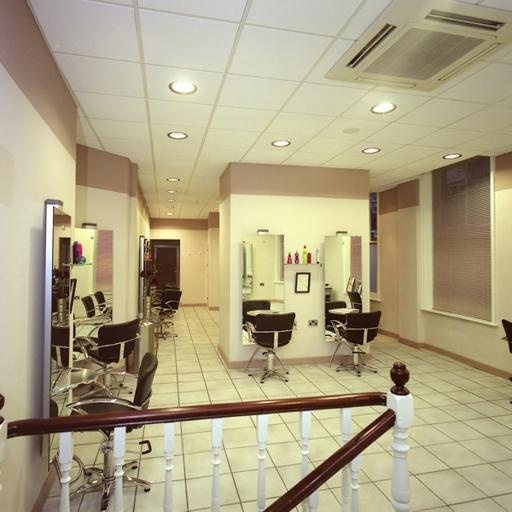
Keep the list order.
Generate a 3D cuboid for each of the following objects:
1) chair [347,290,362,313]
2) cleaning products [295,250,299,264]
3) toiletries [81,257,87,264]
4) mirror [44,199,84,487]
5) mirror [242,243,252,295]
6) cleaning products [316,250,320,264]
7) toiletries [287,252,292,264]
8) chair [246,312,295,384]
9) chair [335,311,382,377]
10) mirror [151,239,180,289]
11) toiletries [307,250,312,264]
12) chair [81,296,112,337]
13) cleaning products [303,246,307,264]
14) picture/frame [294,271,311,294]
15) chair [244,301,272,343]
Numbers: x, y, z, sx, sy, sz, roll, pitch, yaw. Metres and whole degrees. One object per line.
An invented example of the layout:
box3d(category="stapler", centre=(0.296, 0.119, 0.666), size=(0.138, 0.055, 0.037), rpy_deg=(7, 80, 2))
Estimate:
box3d(category="chair", centre=(1.416, 0.644, 5.880), size=(0.266, 0.328, 0.218), rpy_deg=(1, 0, -37))
box3d(category="cleaning products", centre=(0.572, 0.028, 5.785), size=(0.057, 0.176, 0.029), rpy_deg=(0, 0, -8))
box3d(category="toiletries", centre=(-1.474, 0.049, 3.505), size=(0.018, 0.070, 0.067), rpy_deg=(25, 12, -37))
box3d(category="mirror", centre=(-1.332, 0.614, 2.823), size=(0.215, 1.950, 0.557), rpy_deg=(0, 0, -17))
box3d(category="mirror", centre=(-0.123, 0.187, 5.605), size=(0.146, 0.737, 0.049), rpy_deg=(0, 0, -3))
box3d(category="cleaning products", centre=(0.879, 0.014, 5.859), size=(0.055, 0.207, 0.026), rpy_deg=(0, 0, -9))
box3d(category="toiletries", centre=(0.466, 0.039, 5.758), size=(0.072, 0.154, 0.040), rpy_deg=(0, 0, -4))
box3d(category="chair", centre=(0.169, 1.138, 5.321), size=(0.579, 0.852, 0.806), rpy_deg=(0, 0, -2))
box3d(category="chair", centre=(1.336, 1.145, 5.585), size=(0.609, 0.832, 0.881), rpy_deg=(0, 0, 6))
box3d(category="mirror", centre=(-2.816, 0.262, 12.699), size=(0.856, 1.519, 0.517), rpy_deg=(0, 0, -20))
box3d(category="toiletries", centre=(0.750, 0.035, 5.819), size=(0.036, 0.163, 0.091), rpy_deg=(0, 0, 45))
box3d(category="chair", centre=(-1.773, 0.612, 4.552), size=(0.384, 0.541, 0.335), rpy_deg=(1, 2, -1))
box3d(category="cleaning products", centre=(0.693, -0.018, 5.811), size=(0.065, 0.255, 0.060), rpy_deg=(0, 0, -3))
box3d(category="picture/frame", centre=(0.640, 0.380, 5.797), size=(0.333, 0.401, 0.035), rpy_deg=(1, 6, -9))
box3d(category="chair", centre=(-0.051, 0.859, 5.612), size=(0.471, 0.602, 0.472), rpy_deg=(2, -2, -14))
